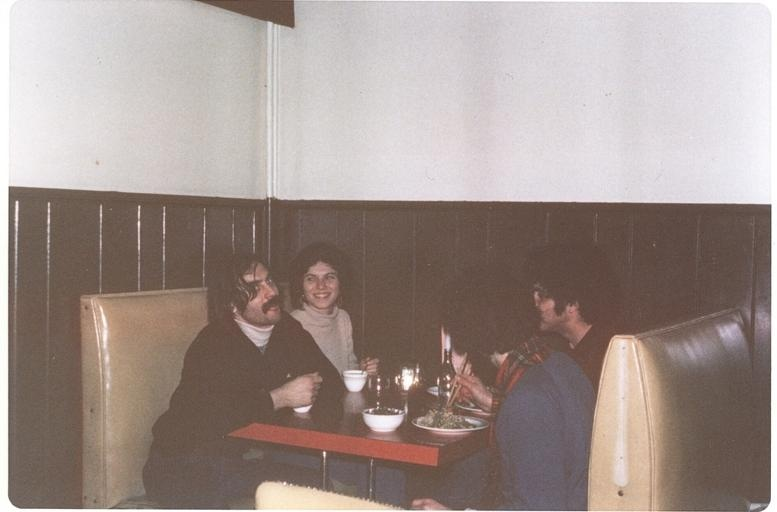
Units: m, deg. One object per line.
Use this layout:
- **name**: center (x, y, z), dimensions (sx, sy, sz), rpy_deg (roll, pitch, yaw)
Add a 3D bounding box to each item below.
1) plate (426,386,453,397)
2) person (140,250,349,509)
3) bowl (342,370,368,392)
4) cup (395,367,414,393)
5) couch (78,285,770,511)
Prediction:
- **plate**: center (0.210, 0.557, 3.035), dimensions (0.087, 0.027, 0.064), rpy_deg (3, 0, -18)
- **person**: center (-0.646, 0.575, 3.668), dimensions (0.953, 1.238, 0.939), rpy_deg (-8, -6, 21)
- **bowl**: center (-0.147, 0.541, 3.263), dimensions (0.092, 0.069, 0.090), rpy_deg (0, -5, 0)
- **cup**: center (0.067, 0.520, 3.158), dimensions (0.085, 0.109, 0.087), rpy_deg (3, 0, 0)
- **couch**: center (0.278, 0.581, 2.978), dimensions (1.495, 0.655, 1.487), rpy_deg (-2, -2, 25)
